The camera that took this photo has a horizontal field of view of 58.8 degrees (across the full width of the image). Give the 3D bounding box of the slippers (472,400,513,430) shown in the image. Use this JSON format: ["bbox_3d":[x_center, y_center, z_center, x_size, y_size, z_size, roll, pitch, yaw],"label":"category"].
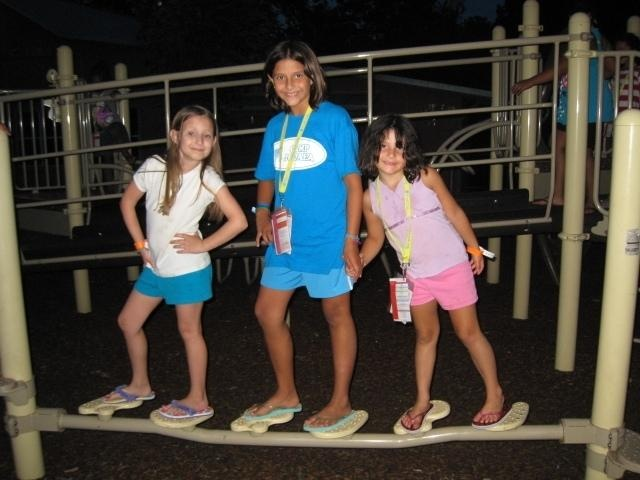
[{"bbox_3d":[0.933,0.951,3.106,0.238,0.049,0.092,-11,12,-37],"label":"slippers"}]

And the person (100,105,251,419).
[{"bbox_3d":[-0.836,0.160,3.141,0.888,1.766,0.565,-4,10,-7],"label":"person"}]

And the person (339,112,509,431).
[{"bbox_3d":[0.617,0.165,3.101,0.784,1.687,0.436,-2,10,4],"label":"person"}]

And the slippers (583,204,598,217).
[{"bbox_3d":[2.126,-0.231,4.459,0.087,0.087,0.133,0,9,19],"label":"slippers"}]

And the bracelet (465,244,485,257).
[{"bbox_3d":[0.846,0.058,3.127,0.084,0.027,0.075,12,-2,-14],"label":"bracelet"}]

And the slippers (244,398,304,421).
[{"bbox_3d":[-0.254,0.931,3.140,0.310,0.068,0.109,3,-3,-18],"label":"slippers"}]

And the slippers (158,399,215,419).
[{"bbox_3d":[-0.733,0.912,3.110,0.220,0.060,0.120,5,-6,-22],"label":"slippers"}]

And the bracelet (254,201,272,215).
[{"bbox_3d":[-0.343,-0.180,3.306,0.080,0.050,0.071,-2,3,4],"label":"bracelet"}]

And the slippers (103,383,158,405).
[{"bbox_3d":[-1.102,0.888,3.301,0.223,0.067,0.126,6,-6,-30],"label":"slippers"}]

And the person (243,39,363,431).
[{"bbox_3d":[-0.117,0.044,3.089,0.711,2.202,0.677,-1,10,11],"label":"person"}]

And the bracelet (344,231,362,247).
[{"bbox_3d":[0.178,-0.008,3.003,0.094,0.045,0.064,20,-7,9],"label":"bracelet"}]

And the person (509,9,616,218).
[{"bbox_3d":[1.985,-1.013,4.601,0.688,1.513,1.481,2,10,26],"label":"person"}]

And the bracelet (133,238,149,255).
[{"bbox_3d":[-1.010,0.029,3.192,0.097,0.074,0.081,4,-2,3],"label":"bracelet"}]

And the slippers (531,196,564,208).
[{"bbox_3d":[1.782,-0.308,4.446,0.223,0.087,0.844,1,9,21],"label":"slippers"}]
